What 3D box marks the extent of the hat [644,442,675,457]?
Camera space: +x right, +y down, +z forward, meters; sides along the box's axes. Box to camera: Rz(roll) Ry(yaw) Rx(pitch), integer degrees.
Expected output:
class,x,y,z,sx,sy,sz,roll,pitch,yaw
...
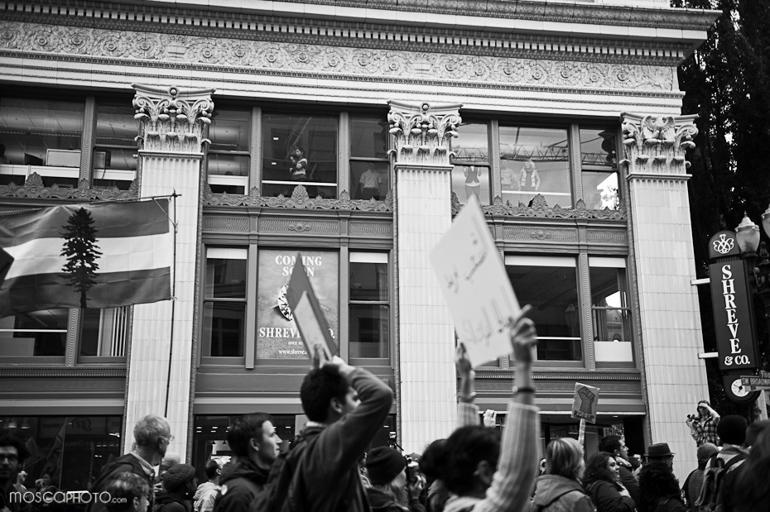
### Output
class,x,y,z,sx,sy,sz,roll,pitch,yaw
hat,6.816,4.832,27.680,0.785,0.352,0.929,-6,-6,28

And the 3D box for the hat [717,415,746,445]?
class,x,y,z,sx,sy,sz,roll,pitch,yaw
hat,7.327,3.754,23.433,0.507,0.648,0.644,8,-43,31

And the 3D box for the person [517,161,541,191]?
class,x,y,z,sx,sy,sz,roll,pitch,yaw
person,4.777,-2.635,36.709,0.708,0.968,0.283,0,-3,-2
